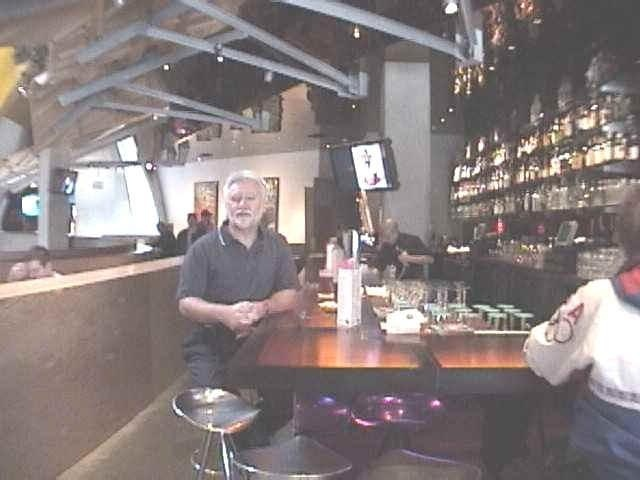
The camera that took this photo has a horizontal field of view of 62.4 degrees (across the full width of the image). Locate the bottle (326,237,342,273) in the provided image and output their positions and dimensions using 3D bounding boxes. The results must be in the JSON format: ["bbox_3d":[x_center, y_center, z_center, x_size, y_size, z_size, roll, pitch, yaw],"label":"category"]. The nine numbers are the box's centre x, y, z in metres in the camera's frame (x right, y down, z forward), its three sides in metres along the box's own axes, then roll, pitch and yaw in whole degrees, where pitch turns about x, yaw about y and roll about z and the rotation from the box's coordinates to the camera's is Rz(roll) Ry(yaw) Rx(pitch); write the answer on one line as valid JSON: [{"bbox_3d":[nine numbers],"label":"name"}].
[{"bbox_3d":[0.070,0.073,2.583,0.082,0.183,0.061,-2,3,0],"label":"bottle"}]

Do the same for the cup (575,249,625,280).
[{"bbox_3d":[1.383,0.122,2.664,0.256,0.159,0.184,2,-4,6],"label":"cup"}]

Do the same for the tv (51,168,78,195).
[{"bbox_3d":[-1.103,-0.249,2.250,0.119,0.131,0.071,8,-2,-21],"label":"tv"}]

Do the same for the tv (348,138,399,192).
[{"bbox_3d":[0.296,-0.390,2.762,0.222,0.260,0.112,-1,3,5],"label":"tv"}]
